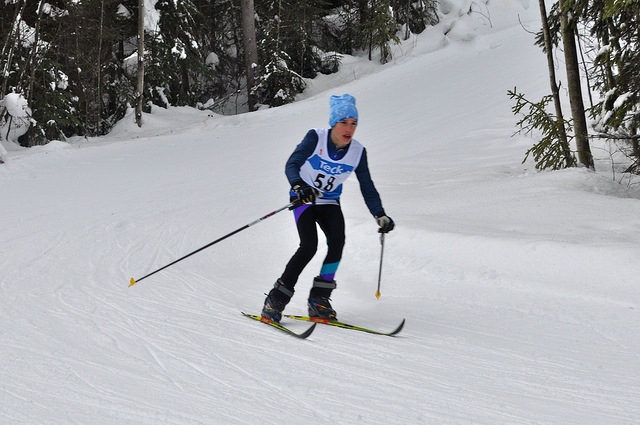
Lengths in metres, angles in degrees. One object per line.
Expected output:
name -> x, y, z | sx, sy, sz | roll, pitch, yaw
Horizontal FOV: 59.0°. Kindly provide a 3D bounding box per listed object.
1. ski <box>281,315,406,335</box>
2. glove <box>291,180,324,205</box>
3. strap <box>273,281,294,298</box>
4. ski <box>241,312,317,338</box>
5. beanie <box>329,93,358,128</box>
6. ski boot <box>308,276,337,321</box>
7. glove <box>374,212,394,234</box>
ski -> 0.245, 1.347, 6.747 | 0.906, 0.117, 0.091 | 8, 3, 25
glove -> -0.160, -0.231, 6.643 | 0.287, 0.102, 0.215 | 31, 3, 35
strap -> -0.447, 0.914, 6.796 | 0.190, 0.062, 0.140 | 30, 0, 30
ski -> -0.485, 1.335, 6.659 | 0.639, 0.083, 0.066 | 19, 14, 31
beanie -> 0.295, -1.203, 6.839 | 0.335, 0.320, 0.272 | 1, -6, 29
ski boot -> 0.018, 1.057, 6.911 | 0.358, 0.491, 0.312 | -9, 19, 11
glove -> 0.782, 0.125, 6.910 | 0.157, 0.272, 0.074 | -34, -12, 15
